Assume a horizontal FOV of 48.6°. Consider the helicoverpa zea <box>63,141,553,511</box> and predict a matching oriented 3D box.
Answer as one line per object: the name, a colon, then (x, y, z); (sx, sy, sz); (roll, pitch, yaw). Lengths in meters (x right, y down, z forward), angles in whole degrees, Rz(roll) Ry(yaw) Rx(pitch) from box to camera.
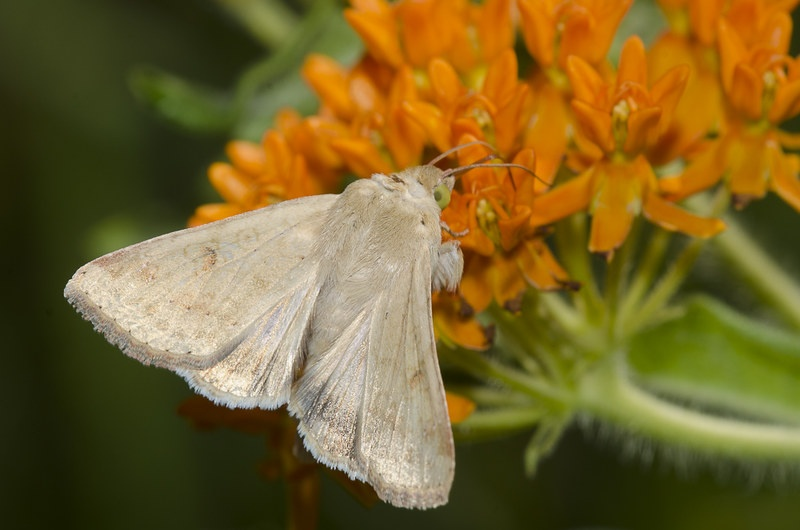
helicoverpa zea: (-0.101, 0.000, 0.984); (0.459, 0.170, 0.347); (23, 63, 11)
